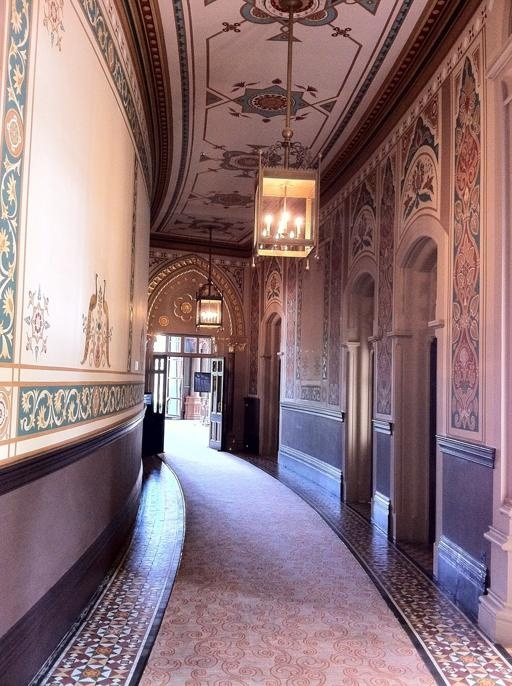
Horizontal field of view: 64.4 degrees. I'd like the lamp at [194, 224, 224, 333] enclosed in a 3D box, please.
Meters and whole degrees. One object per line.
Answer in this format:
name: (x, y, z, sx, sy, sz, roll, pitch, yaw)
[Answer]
lamp: (-1.421, -2.060, 12.376, 0.655, 3.377, 2.048, 3, -10, -9)
